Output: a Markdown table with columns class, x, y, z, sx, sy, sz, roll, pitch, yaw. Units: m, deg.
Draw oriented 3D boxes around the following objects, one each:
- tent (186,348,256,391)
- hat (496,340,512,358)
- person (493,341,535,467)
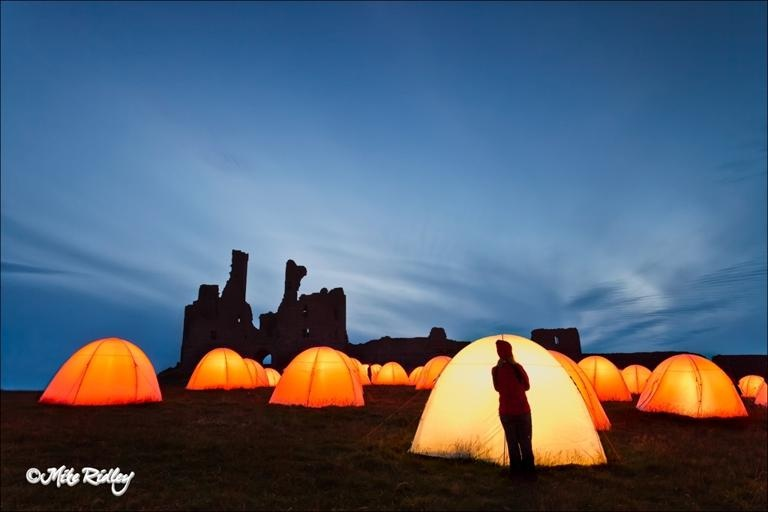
| class | x | y | z | sx | sy | sz | roll | pitch | yaw |
| --- | --- | --- | --- | --- | --- | --- | --- | --- | --- |
| tent | -7.373 | 5.018 | 26.677 | 3.463 | 1.772 | 3.321 | 7 | -11 | -37 |
| hat | 2.418 | 1.859 | 11.831 | 0.252 | 0.284 | 0.374 | -4 | 18 | 25 |
| person | 2.551 | 2.955 | 11.668 | 0.699 | 2.433 | 0.918 | -5 | -24 | 11 |
